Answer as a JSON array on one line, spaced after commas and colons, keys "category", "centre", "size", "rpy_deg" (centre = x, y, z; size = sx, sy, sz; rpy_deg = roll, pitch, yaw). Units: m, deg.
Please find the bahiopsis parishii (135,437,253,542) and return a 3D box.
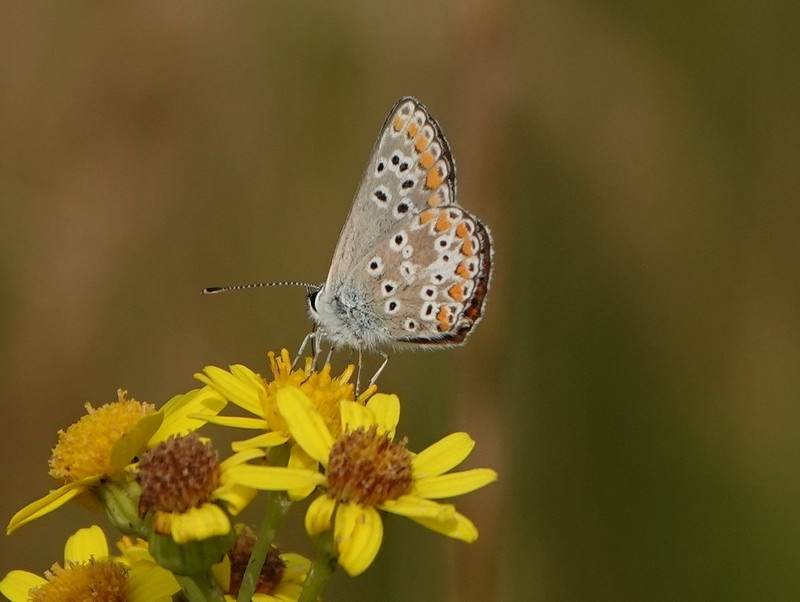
[{"category": "bahiopsis parishii", "centre": [-0.926, 0.833, 4.174], "size": [0.394, 0.193, 0.440], "rpy_deg": [-24, 59, -19]}]
